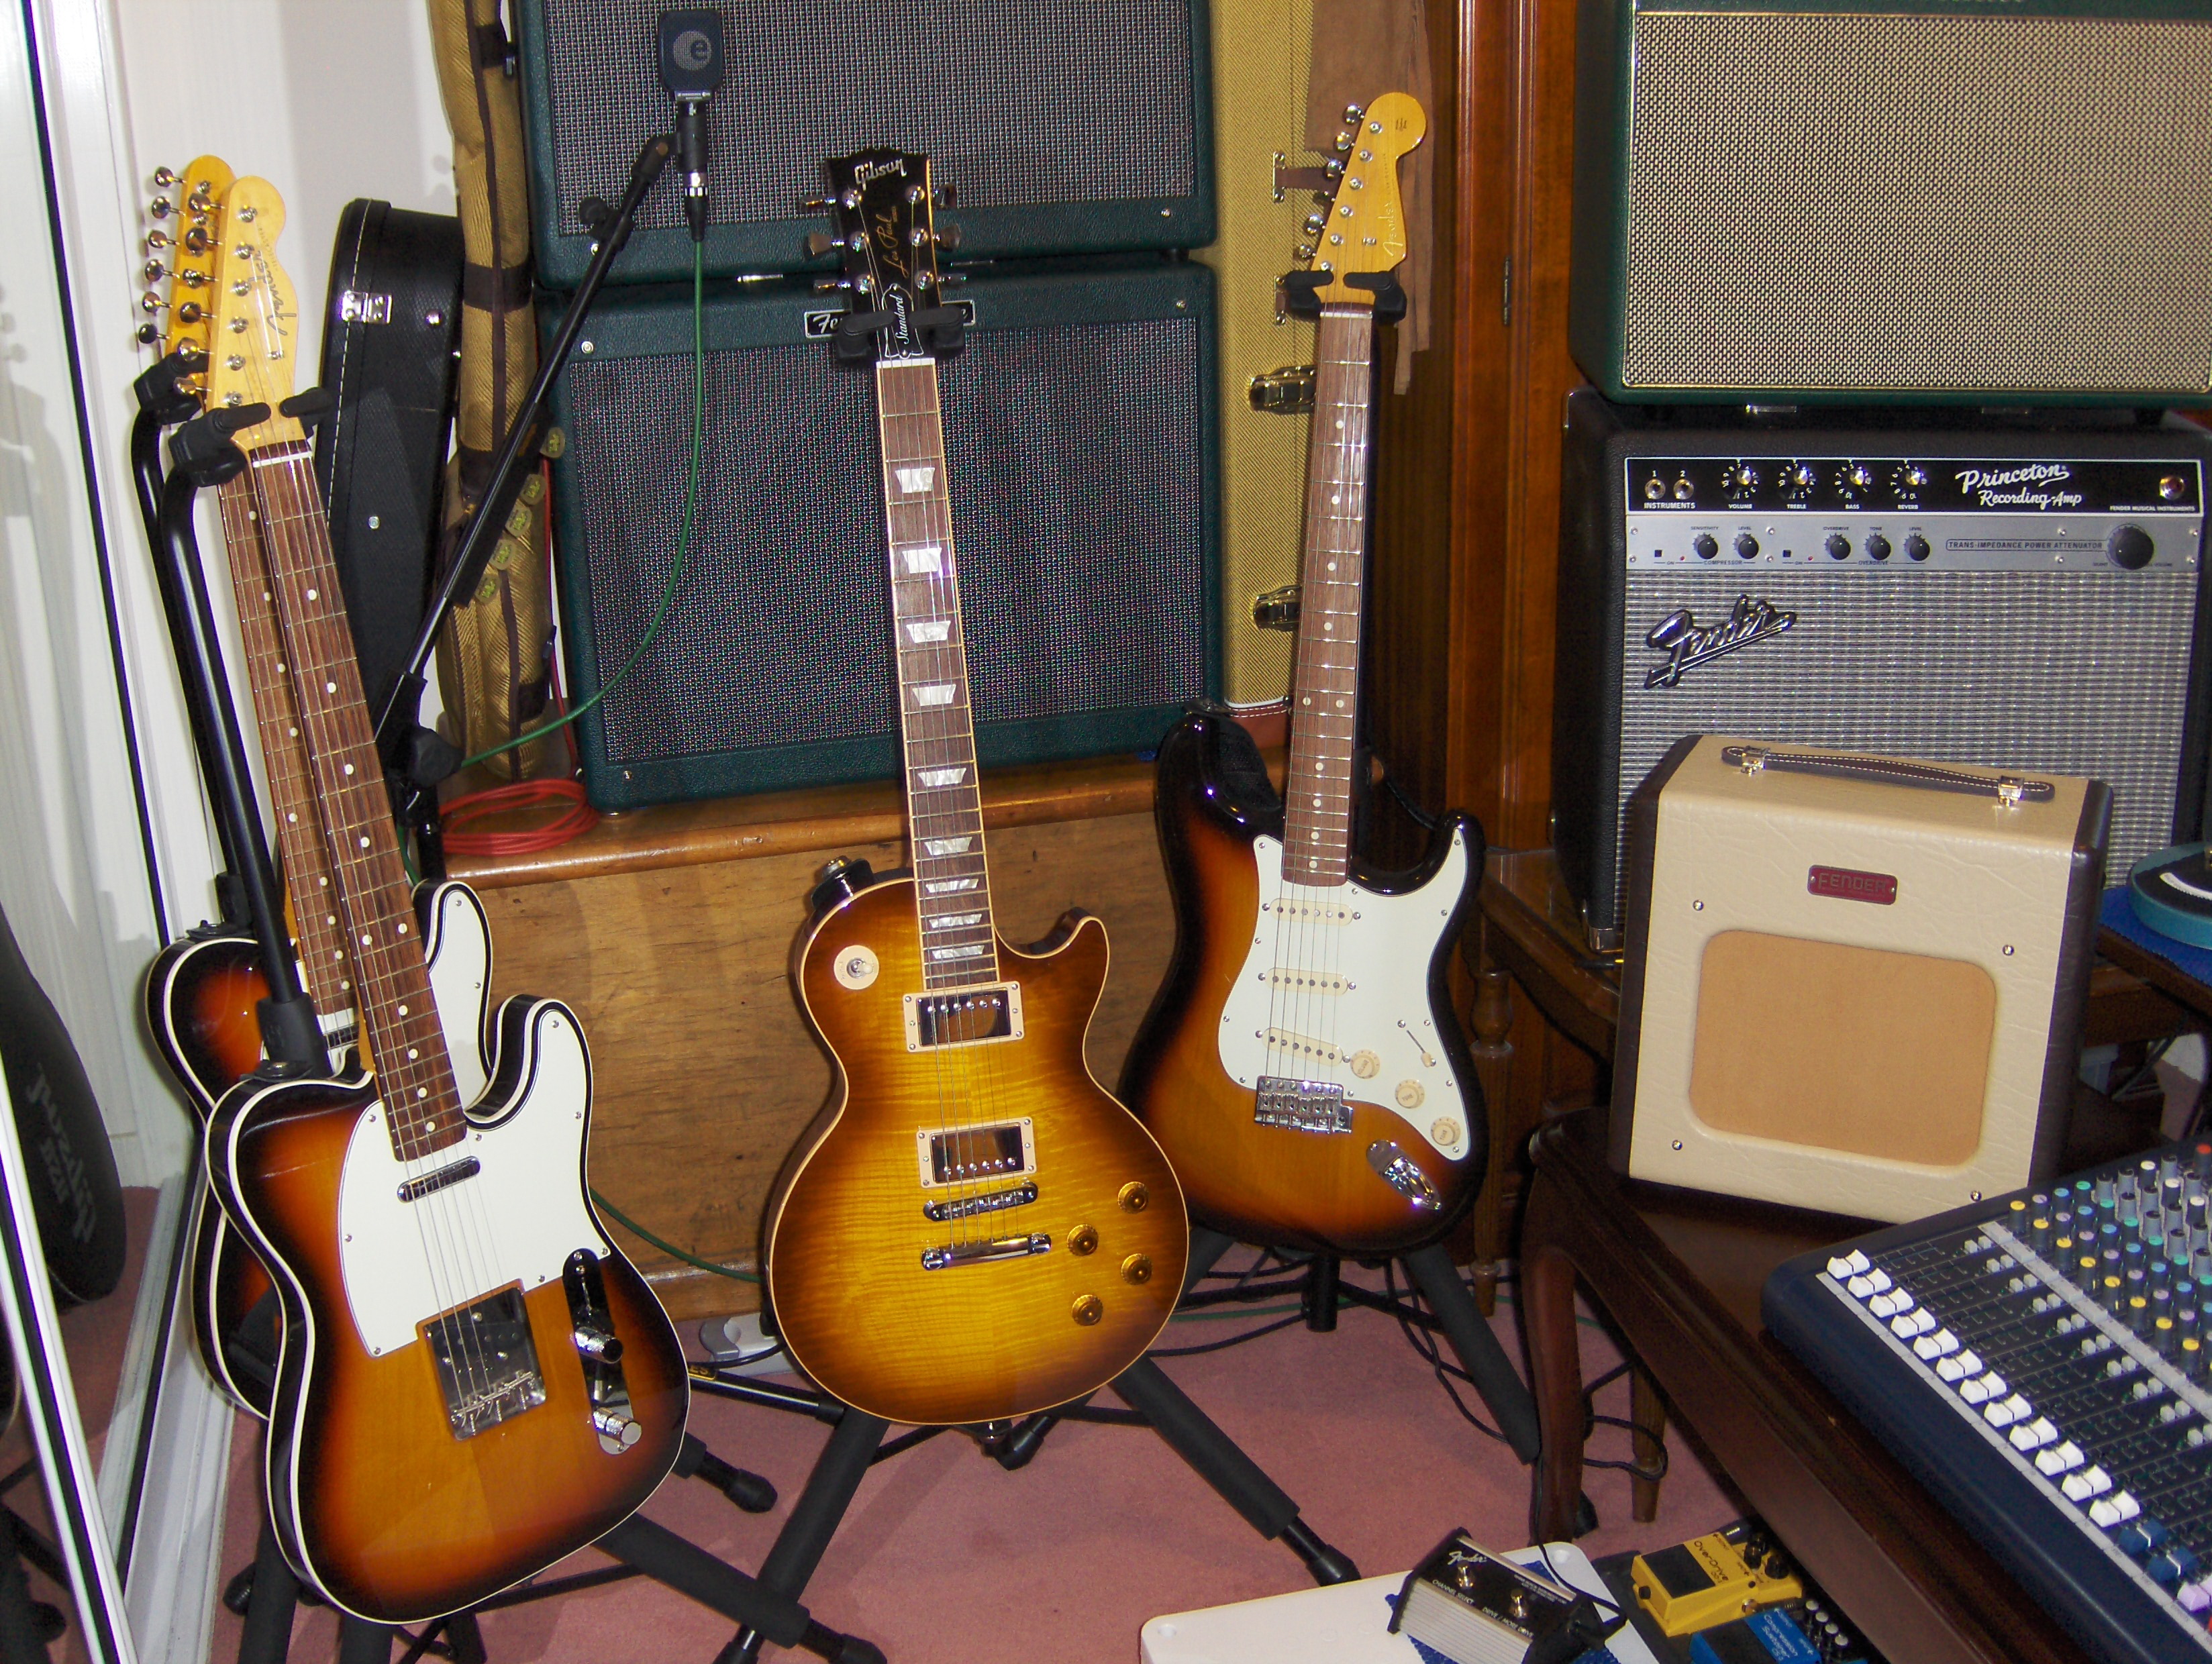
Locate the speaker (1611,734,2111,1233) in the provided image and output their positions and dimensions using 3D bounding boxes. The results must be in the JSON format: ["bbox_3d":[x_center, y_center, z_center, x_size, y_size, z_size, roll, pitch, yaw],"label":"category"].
[{"bbox_3d":[0.689,0.152,1.773,0.340,0.440,0.161,6,23,14],"label":"speaker"}]

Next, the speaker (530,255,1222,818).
[{"bbox_3d":[-0.308,-0.402,2.491,0.579,0.513,0.258,-7,24,-11],"label":"speaker"}]
